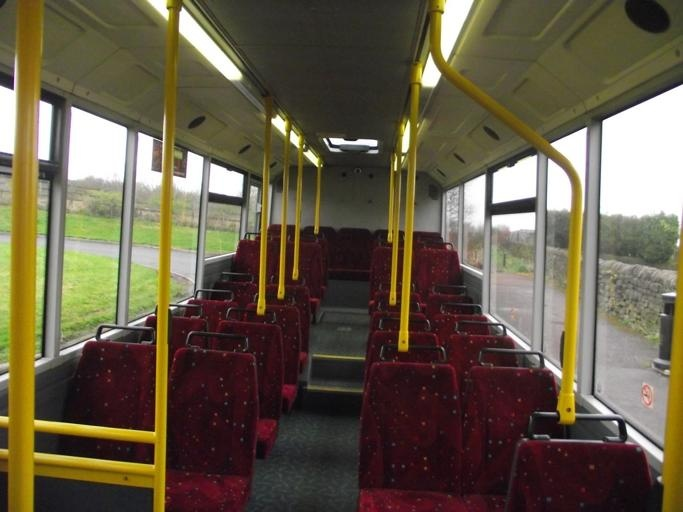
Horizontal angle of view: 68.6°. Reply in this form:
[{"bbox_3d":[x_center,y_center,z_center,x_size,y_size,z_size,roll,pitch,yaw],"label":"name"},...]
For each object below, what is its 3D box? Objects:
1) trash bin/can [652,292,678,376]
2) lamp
[{"bbox_3d":[2.132,0.498,3.294,0.091,0.641,0.134,7,3,34],"label":"trash bin/can"},{"bbox_3d":[-0.107,-1.708,5.351,2.258,0.772,3.914,8,4,3],"label":"lamp"}]
